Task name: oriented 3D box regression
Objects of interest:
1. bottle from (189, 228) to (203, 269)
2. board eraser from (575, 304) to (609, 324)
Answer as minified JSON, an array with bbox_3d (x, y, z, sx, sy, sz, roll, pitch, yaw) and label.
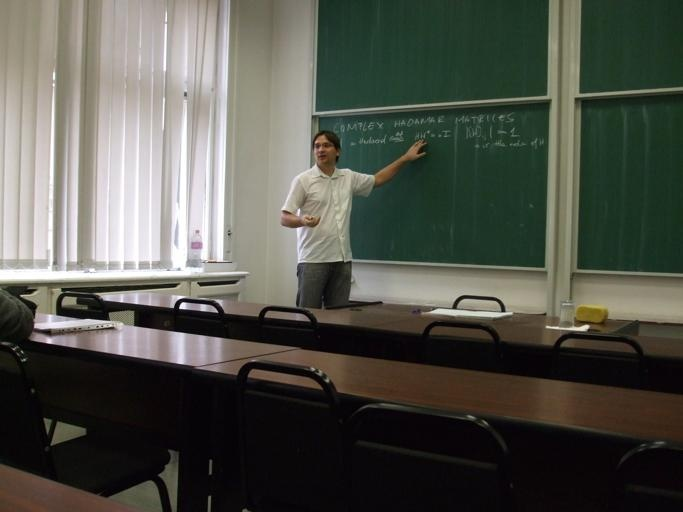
[{"bbox_3d":[-1.234,-0.068,4.705,0.126,0.298,0.220,-4,5,-16],"label":"bottle"},{"bbox_3d":[1.272,0.265,2.813,0.087,0.084,0.124,-2,1,-38],"label":"board eraser"}]
